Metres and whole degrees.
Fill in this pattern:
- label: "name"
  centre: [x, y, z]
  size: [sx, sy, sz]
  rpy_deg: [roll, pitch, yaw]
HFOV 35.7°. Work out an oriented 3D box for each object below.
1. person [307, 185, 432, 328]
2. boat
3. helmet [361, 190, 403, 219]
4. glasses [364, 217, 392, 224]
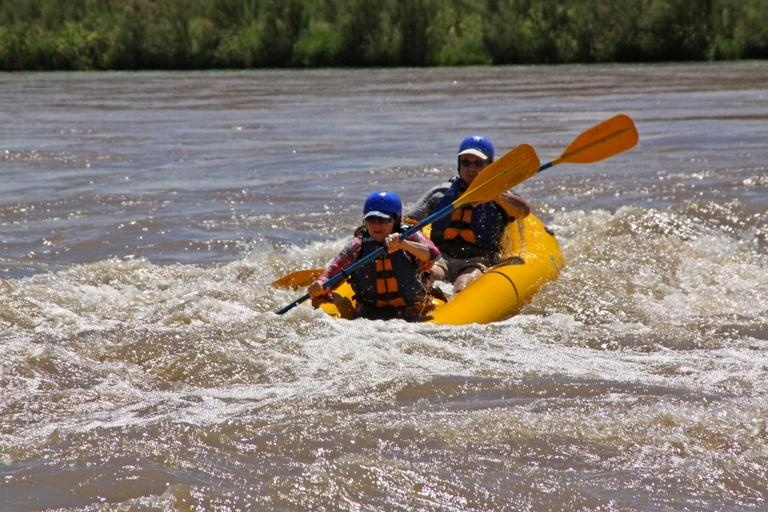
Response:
- label: "person"
  centre: [-0.043, -0.013, 13.167]
  size: [1.288, 1.410, 0.382]
  rpy_deg: [4, 9, 1]
- label: "boat"
  centre: [1.329, 0.264, 13.514]
  size: [1.322, 0.438, 2.371]
  rpy_deg: [-5, 17, 42]
- label: "helmet"
  centre: [0.008, -0.584, 13.159]
  size: [0.279, 0.185, 0.396]
  rpy_deg: [4, 2, 29]
- label: "glasses"
  centre: [-0.054, -0.409, 13.110]
  size: [0.297, 0.087, 0.085]
  rpy_deg: [3, 9, -1]
